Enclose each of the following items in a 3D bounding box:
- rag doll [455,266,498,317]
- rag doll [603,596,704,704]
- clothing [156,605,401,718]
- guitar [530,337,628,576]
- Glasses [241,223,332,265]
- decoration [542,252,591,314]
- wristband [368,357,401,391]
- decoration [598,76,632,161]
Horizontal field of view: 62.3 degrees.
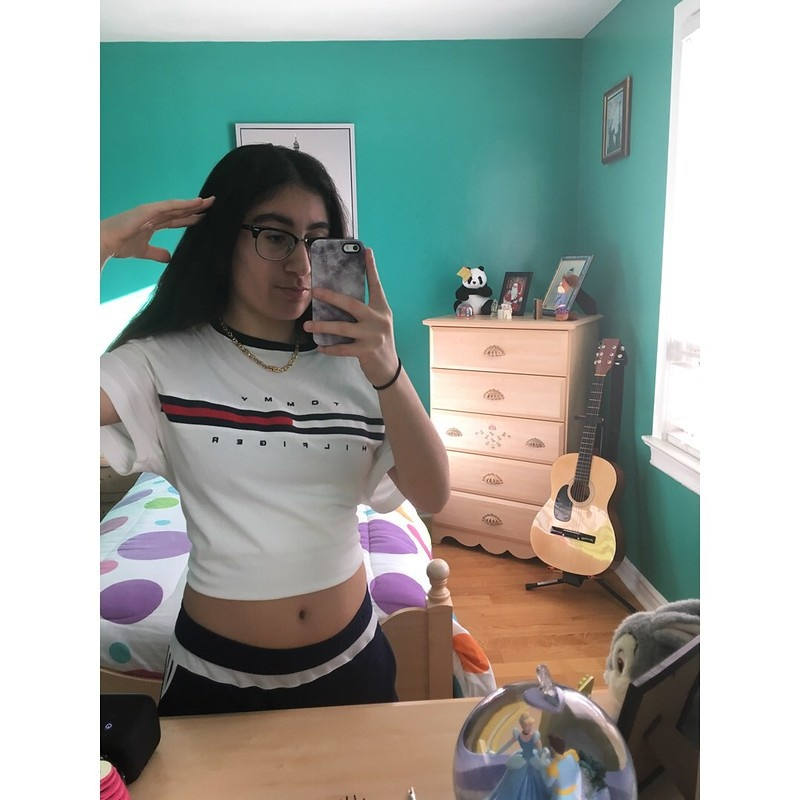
[{"bbox_3d":[0.336,-0.509,3.273,0.243,0.313,0.212,-1,-1,-3],"label":"rag doll"},{"bbox_3d":[0.256,0.265,0.678,0.082,0.123,0.084,8,16,20],"label":"rag doll"},{"bbox_3d":[-0.157,0.342,0.906,0.307,0.172,0.163,-1,12,-11],"label":"clothing"},{"bbox_3d":[0.679,0.279,2.524,0.311,0.994,0.420,5,15,12],"label":"guitar"},{"bbox_3d":[-0.161,-0.198,0.838,0.075,0.043,0.028,-1,15,-12],"label":"Glasses"},{"bbox_3d":[0.738,-0.500,2.911,0.178,0.268,0.345,4,15,9],"label":"decoration"},{"bbox_3d":[-0.023,-0.029,0.856,0.009,0.039,0.036,22,20,-19],"label":"wristband"},{"bbox_3d":[0.895,-1.144,2.738,0.083,0.299,0.332,4,15,8],"label":"decoration"}]
